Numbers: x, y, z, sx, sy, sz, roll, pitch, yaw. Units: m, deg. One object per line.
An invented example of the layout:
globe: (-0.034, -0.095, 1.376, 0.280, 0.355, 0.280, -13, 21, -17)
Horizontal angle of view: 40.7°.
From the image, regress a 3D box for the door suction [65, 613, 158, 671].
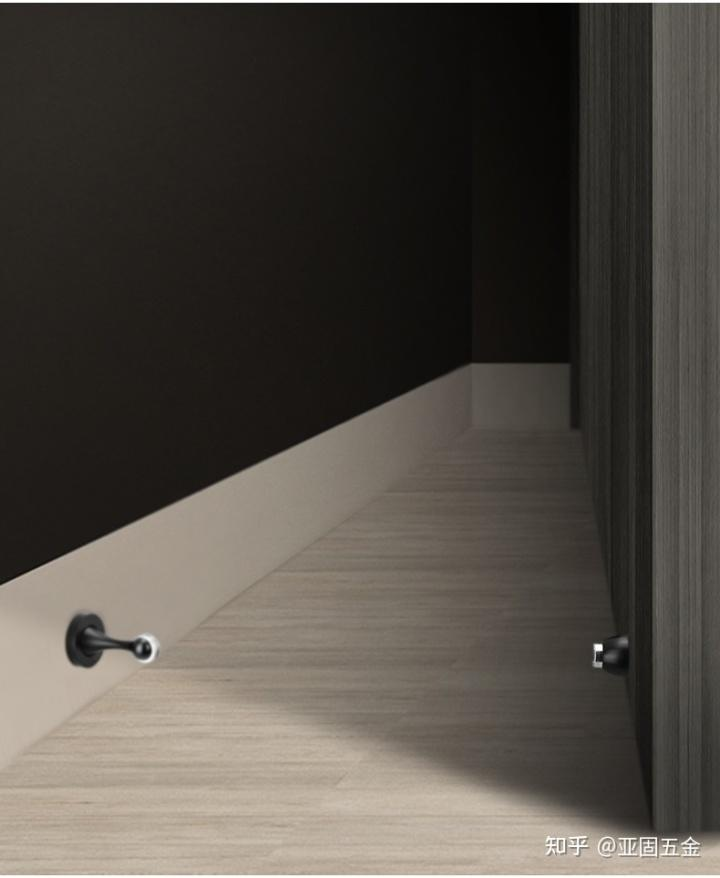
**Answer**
door suction: (-0.207, 0.179, 0.863, 0.073, 0.056, 0.052, 3, -30, 10)

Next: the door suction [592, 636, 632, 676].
door suction: (0.202, 0.176, 0.800, 0.031, 0.028, 0.032, 3, -88, -8)
